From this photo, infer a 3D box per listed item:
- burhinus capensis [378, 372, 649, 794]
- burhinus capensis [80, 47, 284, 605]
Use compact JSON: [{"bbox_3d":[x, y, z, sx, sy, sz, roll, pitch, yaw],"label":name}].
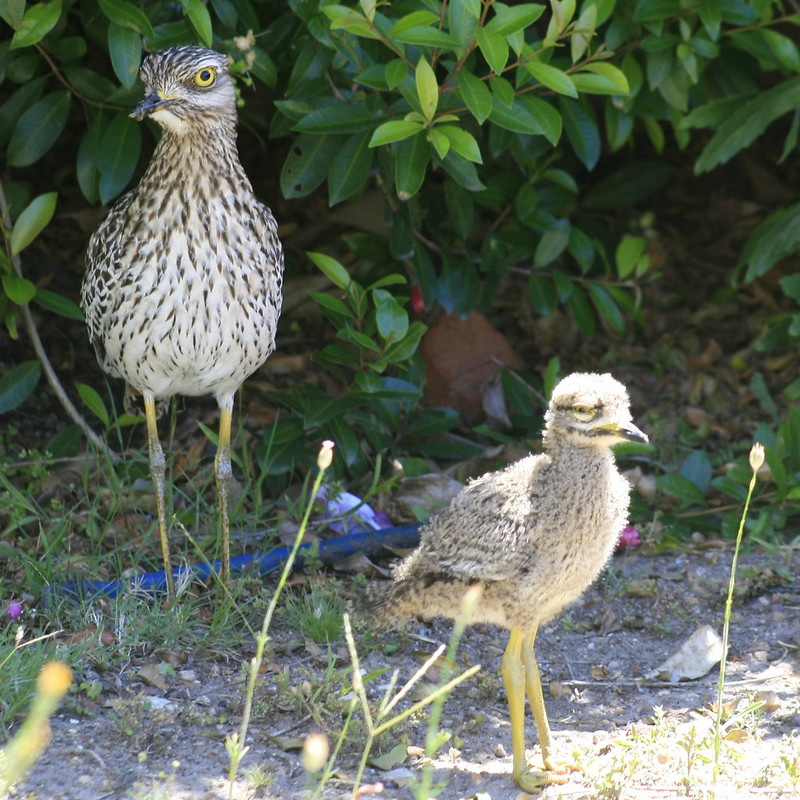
[{"bbox_3d":[0.488,0.617,4.158,0.915,1.253,0.999,-20,35,-31],"label":"burhinus capensis"},{"bbox_3d":[-0.843,-0.406,4.545,0.819,1.900,0.788,-11,32,-19],"label":"burhinus capensis"}]
